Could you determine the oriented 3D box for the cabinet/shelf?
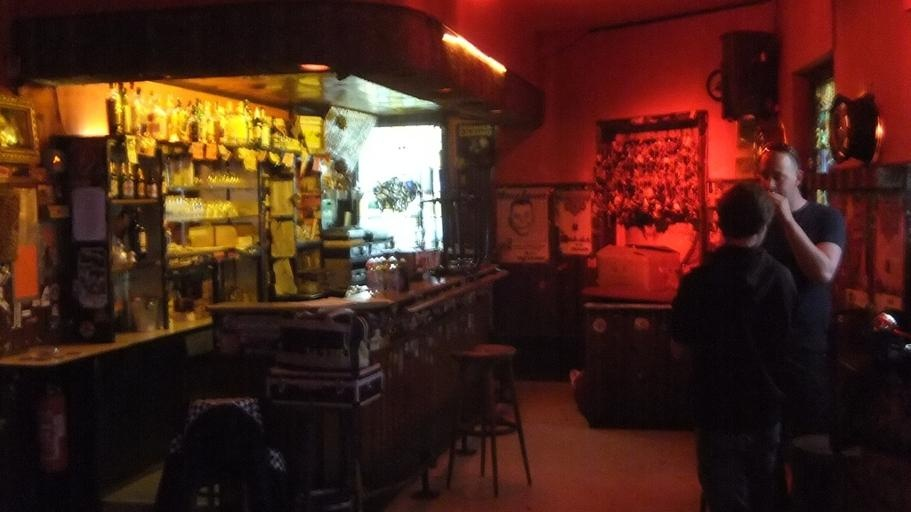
[{"bbox_3d":[-2.911,-0.176,7.622,0.732,1.492,2.434,0,2,13],"label":"cabinet/shelf"}]

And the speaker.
[{"bbox_3d":[3.599,-2.218,8.870,0.639,1.020,0.317,1,3,20],"label":"speaker"}]

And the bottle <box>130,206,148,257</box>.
[{"bbox_3d":[-3.252,-0.224,7.486,0.185,0.540,0.096,-1,2,-21],"label":"bottle"}]

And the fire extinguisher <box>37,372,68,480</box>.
[{"bbox_3d":[-3.684,1.596,6.688,0.233,0.840,0.059,-1,3,-30],"label":"fire extinguisher"}]

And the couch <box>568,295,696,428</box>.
[{"bbox_3d":[1.910,1.367,8.975,1.724,1.479,1.145,8,-8,-27],"label":"couch"}]

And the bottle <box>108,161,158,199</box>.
[{"bbox_3d":[-3.253,-0.762,7.326,0.227,0.379,0.419,1,5,17],"label":"bottle"}]
